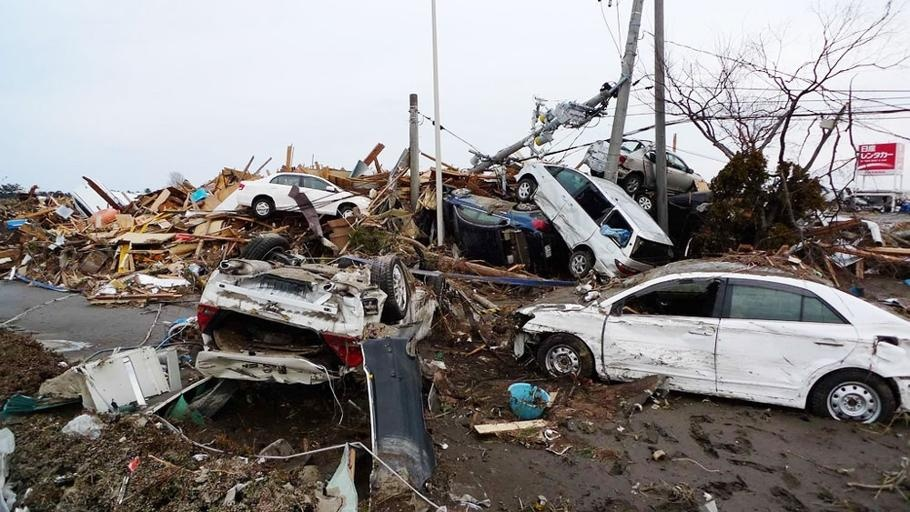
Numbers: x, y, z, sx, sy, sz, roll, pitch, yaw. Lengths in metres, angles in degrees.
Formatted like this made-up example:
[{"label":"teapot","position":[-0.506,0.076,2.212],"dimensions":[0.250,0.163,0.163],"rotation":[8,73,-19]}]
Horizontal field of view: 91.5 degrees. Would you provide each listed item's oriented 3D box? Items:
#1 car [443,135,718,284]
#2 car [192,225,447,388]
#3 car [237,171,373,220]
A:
[{"label":"car","position":[3.542,-1.288,14.526],"dimensions":[7.006,2.755,3.230],"rotation":[29,-4,39]},{"label":"car","position":[-2.175,0.606,8.036],"dimensions":[3.372,1.519,4.167],"rotation":[4,8,17]},{"label":"car","position":[-5.364,-2.049,15.776],"dimensions":[4.494,1.148,1.760],"rotation":[0,9,-8]}]
